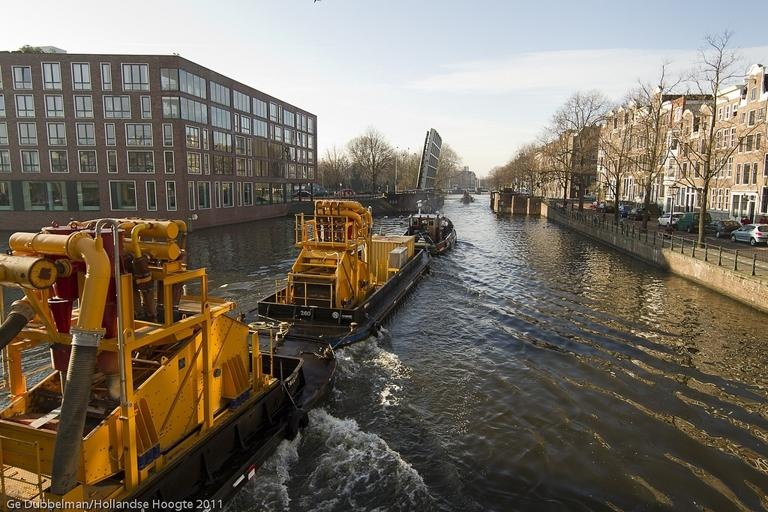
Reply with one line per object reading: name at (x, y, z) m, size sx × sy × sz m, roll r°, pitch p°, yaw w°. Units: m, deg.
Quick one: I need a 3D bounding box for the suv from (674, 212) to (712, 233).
suv at (28.877, -3.203, 47.237) m, size 0.983 × 1.882 × 3.503 m, roll 0°, pitch 9°, yaw 10°
